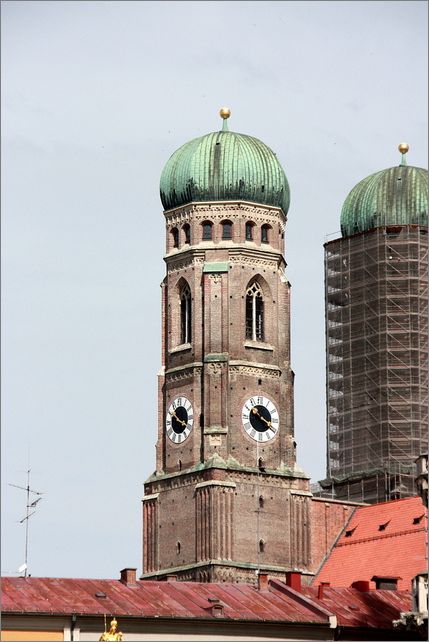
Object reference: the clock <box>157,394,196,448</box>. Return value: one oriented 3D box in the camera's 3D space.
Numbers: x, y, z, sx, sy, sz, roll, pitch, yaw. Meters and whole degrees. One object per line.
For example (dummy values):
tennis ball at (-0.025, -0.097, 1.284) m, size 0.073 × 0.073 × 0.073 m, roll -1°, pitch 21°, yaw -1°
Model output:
clock at (-1.390, 4.349, 95.453) m, size 0.089 × 2.161 × 1.826 m, roll 6°, pitch -10°, yaw -39°

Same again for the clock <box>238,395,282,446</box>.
clock at (1.957, 4.323, 94.682) m, size 1.533 × 1.727 × 0.183 m, roll -26°, pitch 5°, yaw -40°
